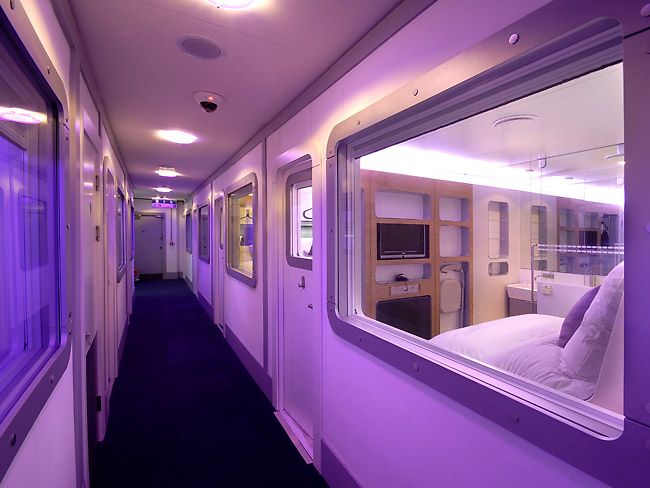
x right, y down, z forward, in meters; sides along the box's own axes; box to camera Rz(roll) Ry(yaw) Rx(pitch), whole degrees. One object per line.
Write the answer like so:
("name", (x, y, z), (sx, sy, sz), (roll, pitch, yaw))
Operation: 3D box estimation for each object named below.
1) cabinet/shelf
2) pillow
("cabinet/shelf", (1.909, 0.064, 4.881), (1.931, 2.151, 2.008), (0, -3, -23))
("pillow", (1.661, 0.466, 2.825), (0.295, 0.733, 0.303), (6, 10, 33))
